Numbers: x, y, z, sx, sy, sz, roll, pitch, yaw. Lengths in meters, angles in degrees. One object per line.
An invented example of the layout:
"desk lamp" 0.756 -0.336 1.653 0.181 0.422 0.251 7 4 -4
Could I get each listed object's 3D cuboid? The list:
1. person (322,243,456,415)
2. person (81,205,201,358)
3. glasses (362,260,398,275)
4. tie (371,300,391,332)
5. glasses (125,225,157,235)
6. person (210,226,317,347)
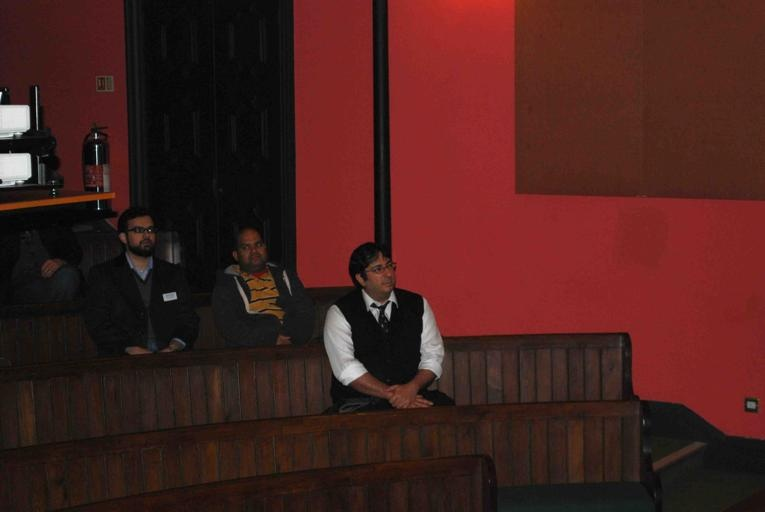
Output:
"person" 0.037 0.523 5.126 0.854 1.180 0.965 1 5 12
"person" -1.673 0.265 5.675 0.769 1.157 0.811 -5 23 -33
"glasses" 0.007 0.071 5.208 0.238 0.087 0.100 -11 14 -38
"tie" 0.000 0.397 5.201 0.106 0.187 0.050 -4 -3 -15
"glasses" -1.705 -0.186 5.696 0.193 0.059 0.069 -8 12 -26
"person" -0.871 0.248 6.134 0.655 0.922 0.550 -9 -12 -31
